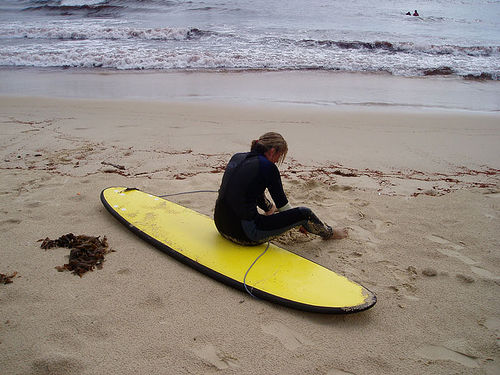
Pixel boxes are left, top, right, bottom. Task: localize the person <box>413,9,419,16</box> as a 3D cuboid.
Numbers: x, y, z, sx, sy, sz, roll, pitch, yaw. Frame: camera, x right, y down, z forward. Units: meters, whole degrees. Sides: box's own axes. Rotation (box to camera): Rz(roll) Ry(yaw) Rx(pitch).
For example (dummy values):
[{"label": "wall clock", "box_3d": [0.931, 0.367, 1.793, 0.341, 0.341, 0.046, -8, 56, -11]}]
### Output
[{"label": "person", "box_3d": [8.268, -8.712, 24.316, 0.263, 0.323, 0.770, 5, 42, 20]}]
